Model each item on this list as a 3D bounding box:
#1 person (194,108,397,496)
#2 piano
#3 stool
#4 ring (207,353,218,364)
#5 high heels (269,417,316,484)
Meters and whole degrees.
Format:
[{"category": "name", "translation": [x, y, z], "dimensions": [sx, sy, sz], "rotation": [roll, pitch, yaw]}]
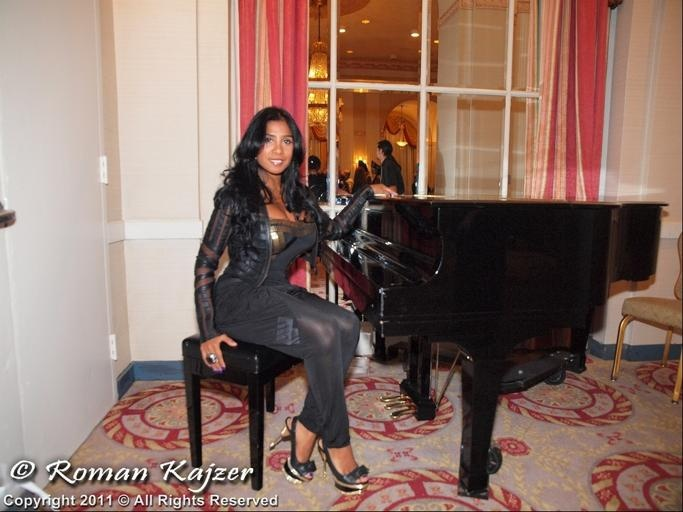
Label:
[{"category": "person", "translation": [-0.239, 0.150, 2.708], "dimensions": [0.924, 1.798, 0.929], "rotation": [3, 5, 21]}, {"category": "piano", "translation": [0.946, 0.359, 3.422], "dimensions": [2.104, 1.392, 1.947], "rotation": [-3, 5, -19]}, {"category": "stool", "translation": [-0.534, 0.766, 2.581], "dimensions": [0.500, 0.731, 0.278], "rotation": [3, 10, 18]}, {"category": "ring", "translation": [-0.617, 0.486, 2.433], "dimensions": [0.043, 0.052, 0.017], "rotation": [-3, -2, 10]}, {"category": "high heels", "translation": [-0.277, 0.962, 2.648], "dimensions": [0.136, 0.151, 0.384], "rotation": [6, 21, -27]}]
